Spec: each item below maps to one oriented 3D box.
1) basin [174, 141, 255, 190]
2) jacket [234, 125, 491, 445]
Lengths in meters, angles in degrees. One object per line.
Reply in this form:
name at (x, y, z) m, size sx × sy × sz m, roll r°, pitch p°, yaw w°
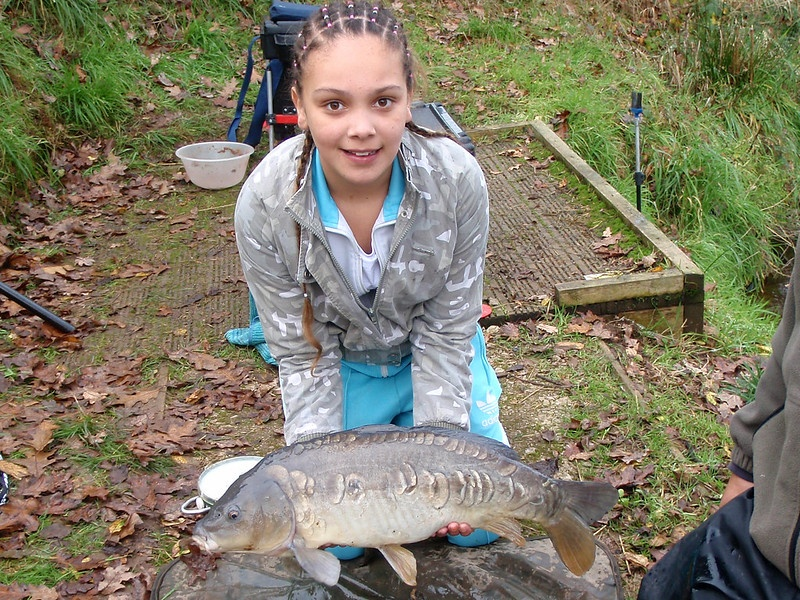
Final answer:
basin at (-1.797, -1.299, 6.849) m, size 0.773 × 0.291 × 0.686 m, roll 1°, pitch 28°, yaw 0°
jacket at (-0.164, -0.004, 3.374) m, size 1.143 × 1.145 × 0.673 m, roll -5°, pitch 13°, yaw -8°
